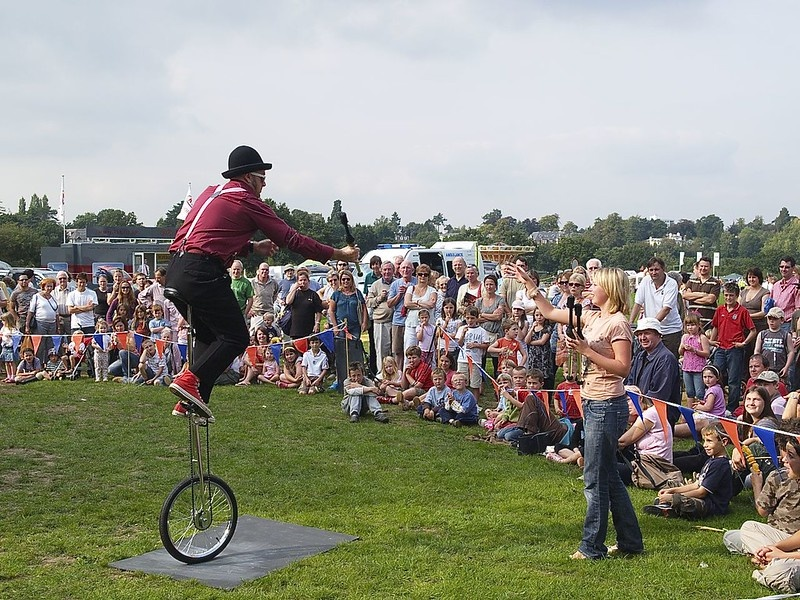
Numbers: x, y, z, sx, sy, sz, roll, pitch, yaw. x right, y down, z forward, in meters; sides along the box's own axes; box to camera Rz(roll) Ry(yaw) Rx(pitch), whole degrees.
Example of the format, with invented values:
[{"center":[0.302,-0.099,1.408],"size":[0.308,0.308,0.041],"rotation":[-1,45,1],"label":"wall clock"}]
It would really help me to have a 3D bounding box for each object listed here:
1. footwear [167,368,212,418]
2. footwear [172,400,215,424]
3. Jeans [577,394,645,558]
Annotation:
[{"center":[-2.131,0.982,14.909],"size":[0.470,0.523,0.251],"rotation":[1,0,-20],"label":"footwear"},{"center":[-2.215,1.160,15.004],"size":[0.595,0.235,0.187],"rotation":[2,8,-12],"label":"footwear"},{"center":[2.187,1.805,15.186],"size":[0.778,1.487,0.749],"rotation":[3,8,-5],"label":"Jeans"}]
